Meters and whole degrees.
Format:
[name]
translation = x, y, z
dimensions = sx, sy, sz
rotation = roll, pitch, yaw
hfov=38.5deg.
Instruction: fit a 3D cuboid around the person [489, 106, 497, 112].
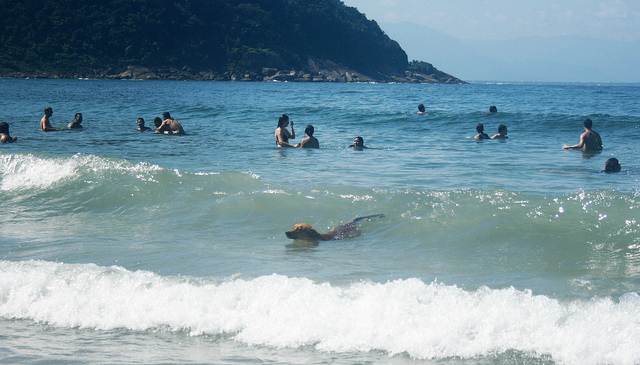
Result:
[person]
translation = 24.465, -10.505, 130.207
dimensions = 0.871, 0.782, 0.677
rotation = 0, 13, -6
